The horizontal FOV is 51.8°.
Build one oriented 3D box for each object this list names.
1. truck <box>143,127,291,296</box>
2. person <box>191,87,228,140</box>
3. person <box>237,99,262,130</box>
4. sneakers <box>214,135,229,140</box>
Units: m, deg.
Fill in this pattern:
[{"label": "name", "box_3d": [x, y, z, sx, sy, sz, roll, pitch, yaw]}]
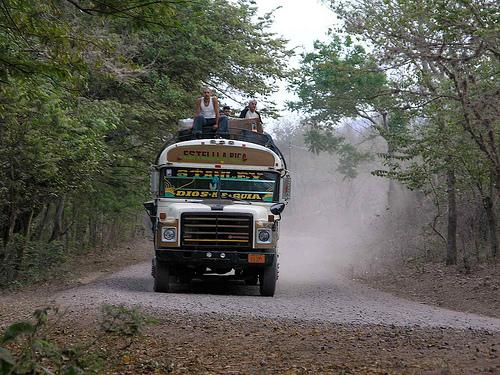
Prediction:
[{"label": "truck", "box_3d": [-0.891, 0.748, 16.615, 3.822, 2.776, 5.379, 0, -7, -1]}, {"label": "person", "box_3d": [-1.192, -2.207, 15.473, 1.248, 1.285, 1.017, 5, 18, 15]}, {"label": "person", "box_3d": [0.020, -2.288, 16.893, 0.940, 1.053, 0.731, 2, -4, -22]}, {"label": "sneakers", "box_3d": [-0.852, -1.471, 15.218, 0.475, 0.150, 0.138, 7, -23, -7]}]
